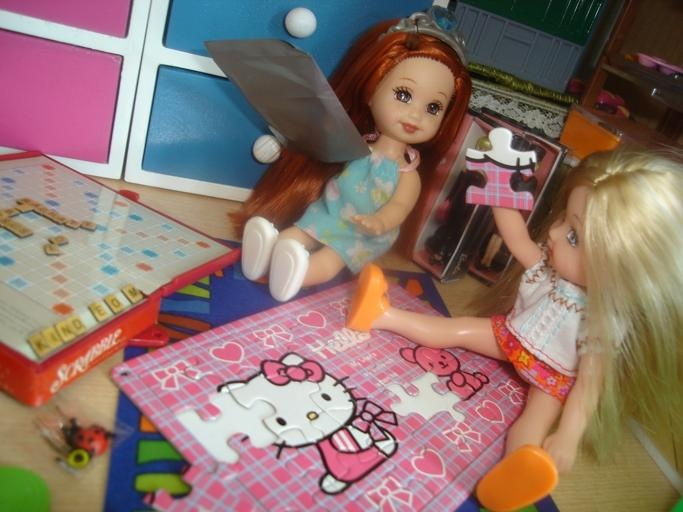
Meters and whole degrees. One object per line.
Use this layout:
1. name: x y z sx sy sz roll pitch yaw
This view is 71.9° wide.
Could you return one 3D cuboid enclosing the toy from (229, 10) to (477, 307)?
1. toy: 0.021 -0.231 1.080 0.488 0.633 0.410 36 42 25
